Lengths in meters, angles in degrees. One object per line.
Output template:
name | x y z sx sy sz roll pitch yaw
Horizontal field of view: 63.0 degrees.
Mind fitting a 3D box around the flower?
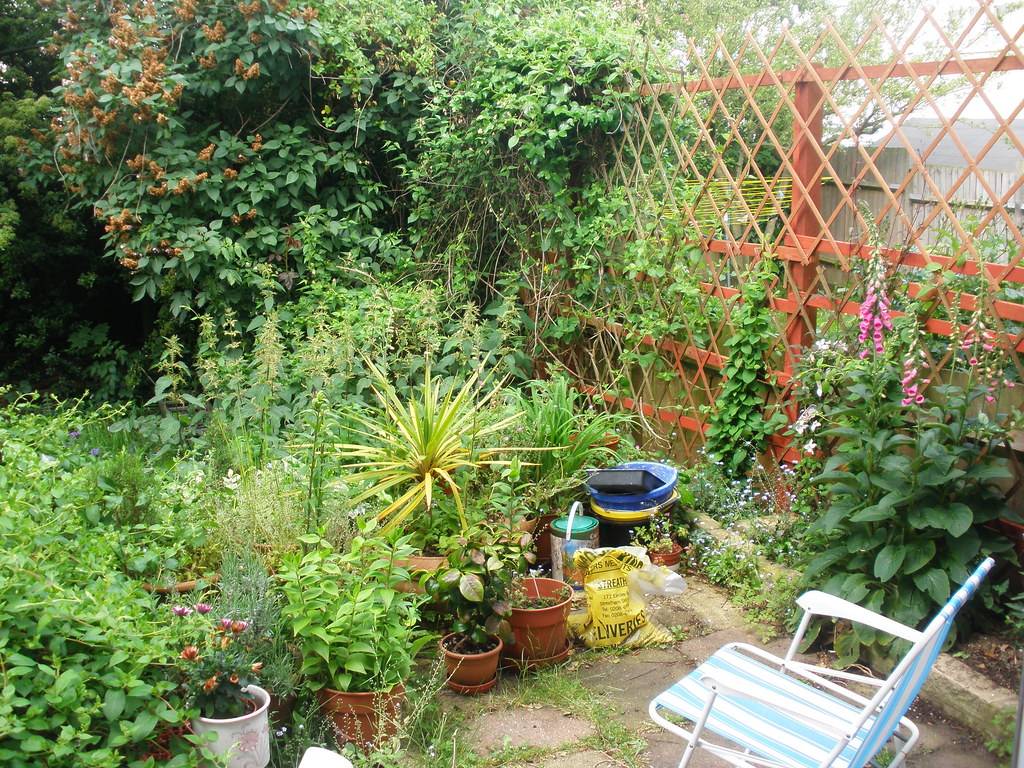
flower | -1.036 0.988 3.092 0.349 0.465 0.367 2 13 -3

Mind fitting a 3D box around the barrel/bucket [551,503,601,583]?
barrel/bucket | 0.363 0.888 4.715 0.260 0.501 0.299 3 13 19
